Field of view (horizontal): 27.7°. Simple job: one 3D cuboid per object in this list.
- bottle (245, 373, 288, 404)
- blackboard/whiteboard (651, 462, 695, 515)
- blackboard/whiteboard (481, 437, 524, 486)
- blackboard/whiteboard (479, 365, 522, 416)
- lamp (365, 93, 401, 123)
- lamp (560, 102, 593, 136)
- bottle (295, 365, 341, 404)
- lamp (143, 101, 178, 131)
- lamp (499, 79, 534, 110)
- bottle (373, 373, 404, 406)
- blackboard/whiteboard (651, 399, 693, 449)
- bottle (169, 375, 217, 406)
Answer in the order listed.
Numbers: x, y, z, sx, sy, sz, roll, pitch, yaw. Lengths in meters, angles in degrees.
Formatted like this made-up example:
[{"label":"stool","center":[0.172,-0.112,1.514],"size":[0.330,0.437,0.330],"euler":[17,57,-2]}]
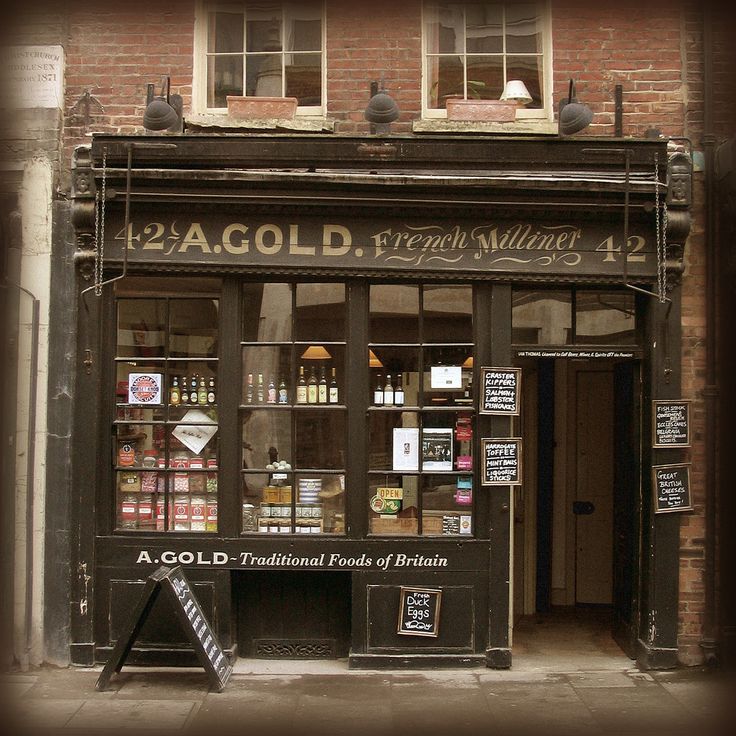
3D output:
[{"label":"bottle","center":[-0.863,0.170,12.834],"size":[0.352,0.265,0.053],"euler":[-2,-1,7]},{"label":"blackboard/whiteboard","center":[2.571,1.008,12.637],"size":[0.446,0.515,0.039],"euler":[0,-1,-6]},{"label":"blackboard/whiteboard","center":[1.134,0.779,12.650],"size":[0.404,0.468,0.034],"euler":[0,-4,-6]},{"label":"blackboard/whiteboard","center":[1.123,0.181,12.671],"size":[0.425,0.485,0.039],"euler":[0,0,-6]},{"label":"lamp","center":[0.107,-2.194,12.583],"size":[0.239,0.183,0.240],"euler":[-3,16,-10]},{"label":"lamp","center":[1.732,-2.100,12.620],"size":[0.261,0.237,0.270],"euler":[18,11,-15]},{"label":"bottle","center":[-0.409,0.132,12.822],"size":[0.329,0.312,0.112],"euler":[1,3,3]},{"label":"lamp","center":[-1.753,-2.147,12.569],"size":[0.291,0.308,0.316],"euler":[-1,-1,-7]},{"label":"lamp","center":[1.278,-2.350,12.801],"size":[0.249,0.228,0.251],"euler":[-1,8,14]},{"label":"bottle","center":[0.164,0.168,12.803],"size":[0.272,0.307,0.099],"euler":[1,-4,-10]},{"label":"blackboard/whiteboard","center":[2.569,0.460,12.650],"size":[0.414,0.501,0.138],"euler":[1,-4,-5]},{"label":"bottle","center":[-1.516,0.186,12.855],"size":[0.407,0.256,0.030],"euler":[-2,-1,5]}]
